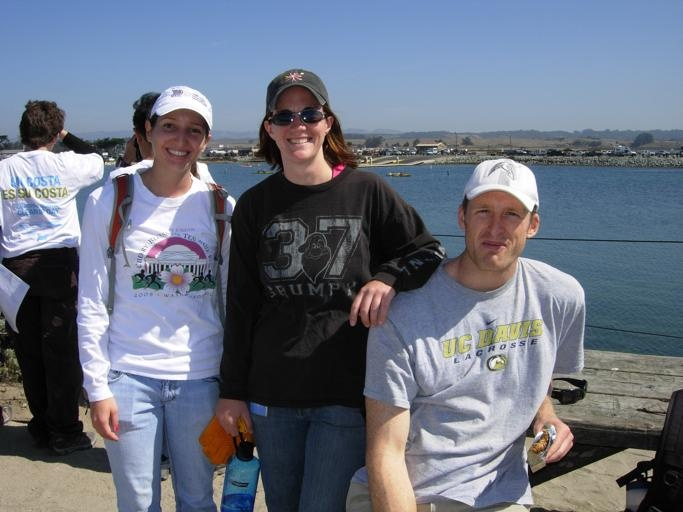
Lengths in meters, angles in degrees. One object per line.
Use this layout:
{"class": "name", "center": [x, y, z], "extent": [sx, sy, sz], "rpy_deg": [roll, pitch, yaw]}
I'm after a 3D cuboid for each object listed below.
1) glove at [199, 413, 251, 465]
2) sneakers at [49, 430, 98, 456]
{"class": "glove", "center": [-0.642, 0.959, 3.132], "extent": [0.289, 0.264, 0.070], "rpy_deg": [38, -18, -24]}
{"class": "sneakers", "center": [-2.076, 1.465, 4.617], "extent": [0.117, 0.134, 0.328], "rpy_deg": [17, 17, 40]}
